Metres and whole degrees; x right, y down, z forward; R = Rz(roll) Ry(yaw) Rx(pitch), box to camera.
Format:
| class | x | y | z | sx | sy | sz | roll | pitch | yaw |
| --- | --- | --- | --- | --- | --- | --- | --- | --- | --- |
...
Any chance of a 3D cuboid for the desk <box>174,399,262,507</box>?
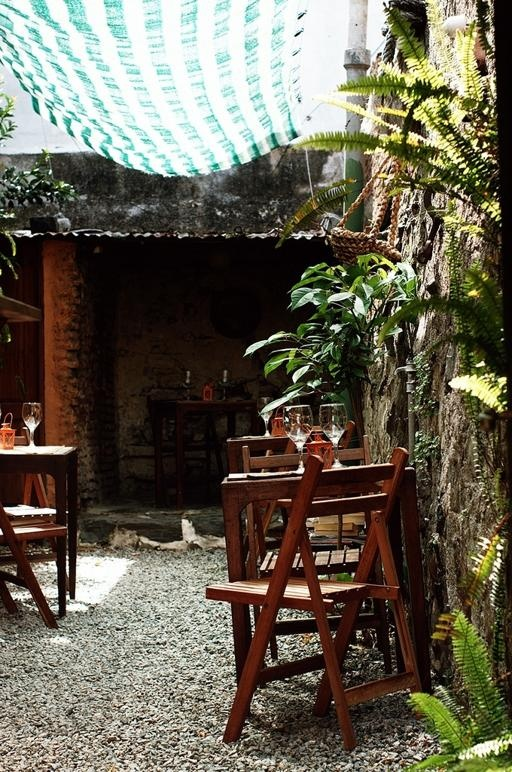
| class | x | y | z | sx | sy | sz | roll | pitch | yaw |
| --- | --- | --- | --- | --- | --- | --- | --- | --- | --- |
| desk | -0.498 | 0.643 | 7.066 | 0.911 | 1.057 | 0.889 | 1 | 5 | -1 |

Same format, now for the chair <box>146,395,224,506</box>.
| class | x | y | z | sx | sy | sz | roll | pitch | yaw |
| --- | --- | --- | --- | --- | --- | --- | --- | --- | --- |
| chair | -0.715 | 0.830 | 7.637 | 0.933 | 1.397 | 0.809 | -5 | -5 | -24 |
